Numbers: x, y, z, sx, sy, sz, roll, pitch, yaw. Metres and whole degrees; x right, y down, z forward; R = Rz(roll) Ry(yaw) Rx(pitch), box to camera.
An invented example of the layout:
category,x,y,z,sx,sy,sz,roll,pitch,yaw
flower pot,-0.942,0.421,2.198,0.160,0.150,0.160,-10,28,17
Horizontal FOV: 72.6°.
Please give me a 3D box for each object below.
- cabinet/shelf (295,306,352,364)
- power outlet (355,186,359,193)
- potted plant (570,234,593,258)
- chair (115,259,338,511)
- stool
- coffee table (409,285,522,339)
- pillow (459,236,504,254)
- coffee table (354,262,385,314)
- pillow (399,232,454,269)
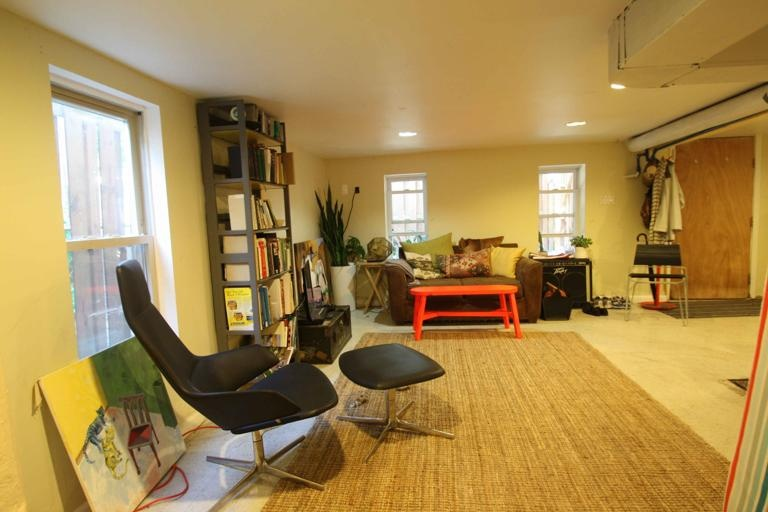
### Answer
category,x,y,z,sx,sy,sz,roll,pitch,yaw
cabinet/shelf,-0.617,0.647,5.428,0.473,0.409,0.866,0,6,6
power outlet,-0.389,-0.961,7.629,0.085,0.079,0.019,-2,4,4
potted plant,2.679,-0.094,7.042,0.383,0.383,0.322,0,-1,0
chair,-0.942,0.817,4.358,1.805,1.952,1.458,-1,7,-10
stool,0.035,0.998,4.142,0.800,0.637,0.803,-8,13,-37
coffee table,0.929,0.592,6.088,1.231,0.593,0.792,-2,10,2
pillow,1.297,-0.165,7.083,0.349,0.103,0.307,-7,4,34
coffee table,-0.210,0.424,7.377,0.624,0.787,0.610,0,-4,5
pillow,0.592,-0.060,6.998,0.462,0.370,0.172,-9,-10,-10
